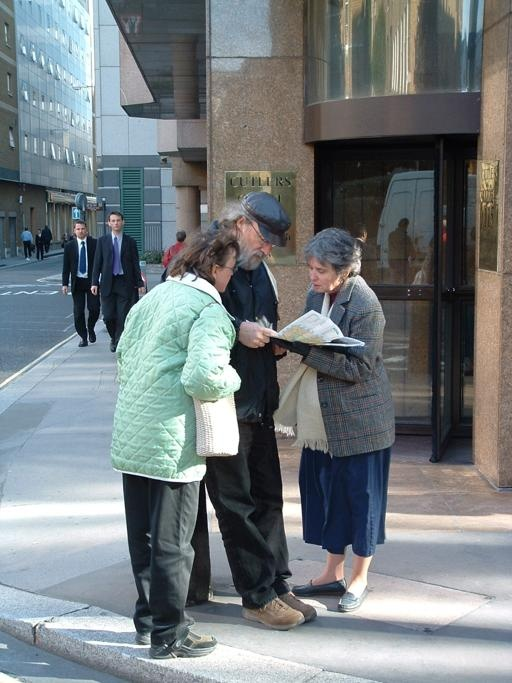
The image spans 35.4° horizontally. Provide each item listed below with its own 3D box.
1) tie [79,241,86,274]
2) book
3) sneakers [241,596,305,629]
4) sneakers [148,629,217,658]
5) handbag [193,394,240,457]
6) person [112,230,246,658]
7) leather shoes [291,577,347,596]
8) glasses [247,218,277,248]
[{"bbox_3d":[-2.623,-1.335,12.234,0.118,0.484,0.079,-3,10,-14],"label":"tie"},{"bbox_3d":[0.229,-0.058,3.003,0.327,0.126,0.130,1,9,13],"label":"book"},{"bbox_3d":[0.075,1.068,3.096,0.239,0.106,0.095,2,15,20],"label":"sneakers"},{"bbox_3d":[-0.252,1.059,2.800,0.237,0.115,0.083,-5,8,-18],"label":"sneakers"},{"bbox_3d":[-0.138,0.279,2.693,0.066,0.234,0.239,-5,0,37],"label":"handbag"},{"bbox_3d":[-0.277,0.358,2.765,0.451,1.501,0.422,-1,9,0],"label":"person"},{"bbox_3d":[0.281,1.072,3.474,0.246,0.094,0.082,3,-5,3],"label":"leather shoes"},{"bbox_3d":[0.040,-0.445,3.021,0.118,0.049,0.088,41,27,-5],"label":"glasses"}]
